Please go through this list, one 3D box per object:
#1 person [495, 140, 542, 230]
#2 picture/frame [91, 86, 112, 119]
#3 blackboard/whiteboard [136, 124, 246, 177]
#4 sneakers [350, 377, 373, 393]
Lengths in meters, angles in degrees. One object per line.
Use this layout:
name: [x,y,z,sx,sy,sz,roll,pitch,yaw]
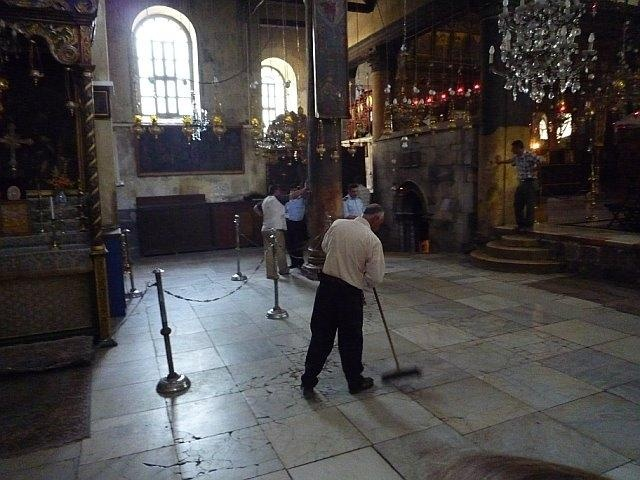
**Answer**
person: [4.661,-1.242,11.922,0.733,2.099,0.796,1,8,18]
picture/frame: [-3.751,-2.378,8.870,0.269,0.566,0.147,-4,8,-18]
blackboard/whiteboard: [-4.090,-2.836,16.324,3.373,1.514,0.156,-5,9,-23]
sneakers: [0.490,1.763,6.255,0.304,0.206,0.111,-15,20,-28]
